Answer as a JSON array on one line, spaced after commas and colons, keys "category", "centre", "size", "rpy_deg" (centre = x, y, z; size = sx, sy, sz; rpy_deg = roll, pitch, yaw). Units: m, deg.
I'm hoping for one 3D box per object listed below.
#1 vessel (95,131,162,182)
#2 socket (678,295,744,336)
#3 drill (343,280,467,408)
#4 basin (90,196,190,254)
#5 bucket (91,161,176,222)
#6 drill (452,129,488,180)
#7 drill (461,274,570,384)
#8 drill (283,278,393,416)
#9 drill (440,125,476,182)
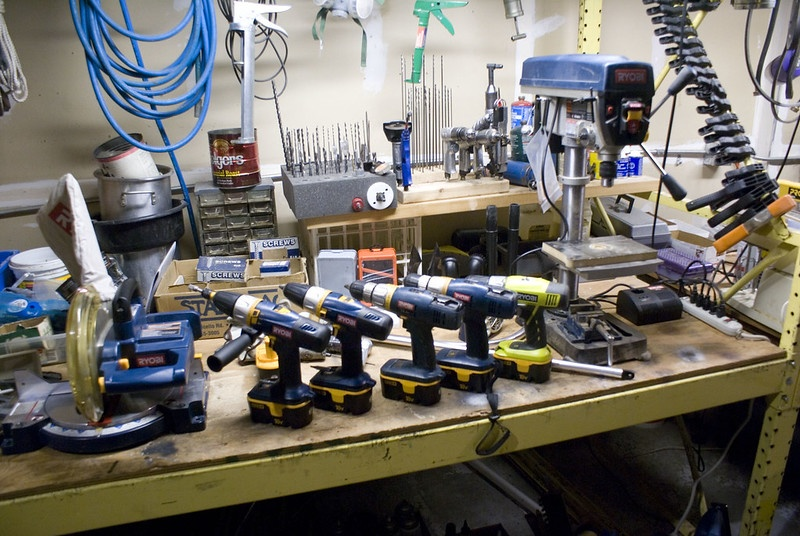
[{"category": "vessel", "centre": [-1.138, -0.460, 2.606], "size": [0.173, 0.188, 0.170], "rpy_deg": [-36, 3, -43]}, {"category": "socket", "centre": [1.199, 0.193, 2.472], "size": [0.084, 0.055, 0.321], "rpy_deg": [-17, 28, -15]}, {"category": "drill", "centre": [0.004, 0.247, 2.171], "size": [0.435, 0.388, 0.134], "rpy_deg": [10, 14, 29]}, {"category": "basin", "centre": [-1.140, -0.180, 2.693], "size": [0.414, 0.153, 0.385], "rpy_deg": [-6, 14, 1]}, {"category": "bucket", "centre": [-1.127, -0.323, 2.652], "size": [0.316, 0.247, 0.326], "rpy_deg": [7, 26, -3]}, {"category": "drill", "centre": [0.308, -0.501, 2.753], "size": [0.060, 0.222, 0.274], "rpy_deg": [-20, 27, -32]}, {"category": "drill", "centre": [0.402, 0.217, 2.176], "size": [0.340, 0.358, 0.117], "rpy_deg": [5, 17, 20]}, {"category": "drill", "centre": [-0.223, 0.274, 2.148], "size": [0.453, 0.401, 0.136], "rpy_deg": [11, 15, 35]}, {"category": "drill", "centre": [0.254, -0.497, 2.736], "size": [0.067, 0.227, 0.288], "rpy_deg": [-5, 11, -16]}]
